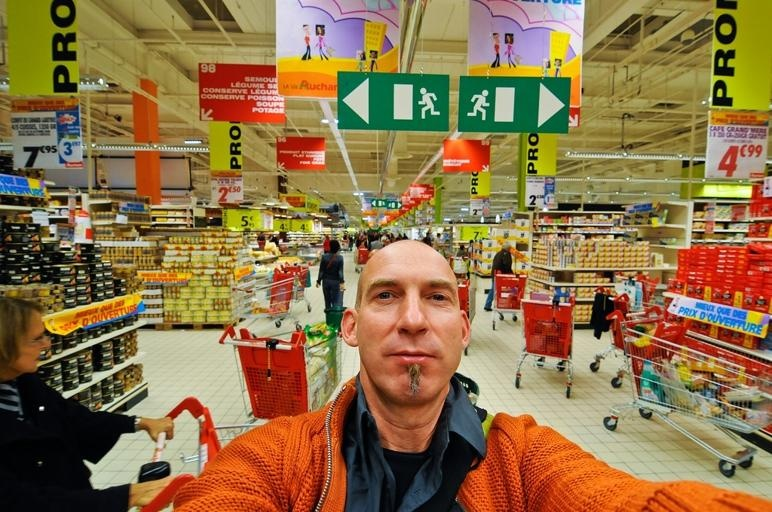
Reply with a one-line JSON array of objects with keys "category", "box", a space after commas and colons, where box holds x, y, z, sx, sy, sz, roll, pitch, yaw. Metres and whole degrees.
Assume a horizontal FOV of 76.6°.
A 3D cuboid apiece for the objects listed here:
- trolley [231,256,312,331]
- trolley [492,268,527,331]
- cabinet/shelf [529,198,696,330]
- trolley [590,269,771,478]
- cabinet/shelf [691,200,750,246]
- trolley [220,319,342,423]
[{"category": "trolley", "box": [-2.483, 0.808, 10.257, 1.082, 1.477, 1.701, -2, -9, 9]}, {"category": "trolley", "box": [2.560, 0.923, 10.555, 0.778, 1.162, 1.199, 5, 6, -3]}, {"category": "cabinet/shelf", "box": [5.225, 0.130, 11.251, 3.876, 2.481, 2.590, 1, -1, -4]}, {"category": "trolley", "box": [4.392, 1.678, 6.863, 1.513, 2.225, 2.310, 3, -2, -16]}, {"category": "cabinet/shelf", "box": [8.321, -0.755, 12.262, 1.567, 1.371, 0.732, 0, -1, -7]}, {"category": "trolley", "box": [-1.170, 1.354, 6.149, 0.913, 1.110, 1.318, 0, 6, 14]}]
